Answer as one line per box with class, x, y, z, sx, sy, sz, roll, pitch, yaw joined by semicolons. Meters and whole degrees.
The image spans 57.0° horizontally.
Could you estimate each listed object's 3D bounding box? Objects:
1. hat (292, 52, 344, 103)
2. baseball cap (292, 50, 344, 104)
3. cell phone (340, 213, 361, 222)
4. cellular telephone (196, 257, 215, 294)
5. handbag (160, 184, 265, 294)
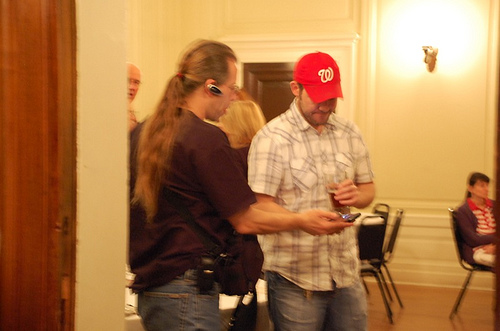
hat;0.311;-0.418;2.035;0.207;0.169;0.318;-4;35;-15
baseball cap;0.313;-0.416;2.038;0.213;0.162;0.319;-6;35;-20
cell phone;0.408;0.208;1.864;0.078;0.029;0.117;-1;5;11
cellular telephone;-0.152;0.367;1.604;0.074;0.127;0.090;4;14;-3
handbag;-0.076;0.276;1.784;0.420;0.399;0.292;11;17;14
